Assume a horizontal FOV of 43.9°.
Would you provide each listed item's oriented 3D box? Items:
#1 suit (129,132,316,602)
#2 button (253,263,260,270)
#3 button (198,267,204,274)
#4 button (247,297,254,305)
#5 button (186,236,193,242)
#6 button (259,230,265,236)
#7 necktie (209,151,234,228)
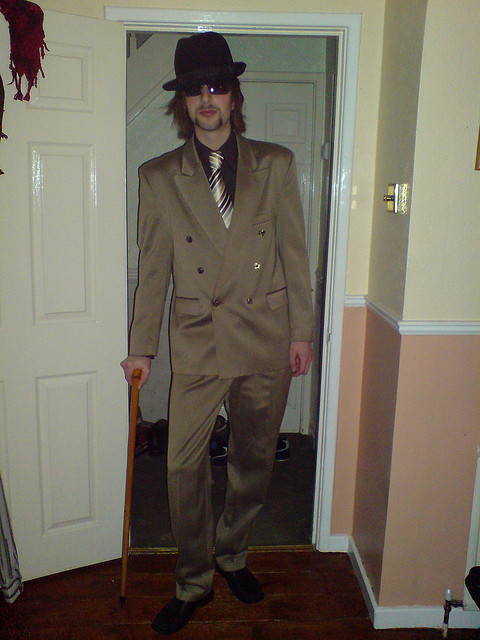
[{"bbox_3d":[-0.059,0.154,1.932,0.570,1.465,0.226,-4,10,-21],"label":"suit"},{"bbox_3d":[0.051,-0.168,1.845,0.020,0.020,0.005,-7,12,-36],"label":"button"},{"bbox_3d":[-0.120,-0.152,1.817,0.012,0.018,0.009,-3,-3,13],"label":"button"},{"bbox_3d":[0.032,-0.060,1.848,0.015,0.021,0.006,1,-3,-18],"label":"button"},{"bbox_3d":[-0.153,-0.249,1.819,0.013,0.018,0.004,0,1,10],"label":"button"},{"bbox_3d":[0.068,-0.272,1.848,0.022,0.018,0.003,-10,14,-42],"label":"button"},{"bbox_3d":[-0.058,-0.402,1.827,0.070,0.224,0.075,0,10,-3],"label":"necktie"}]
